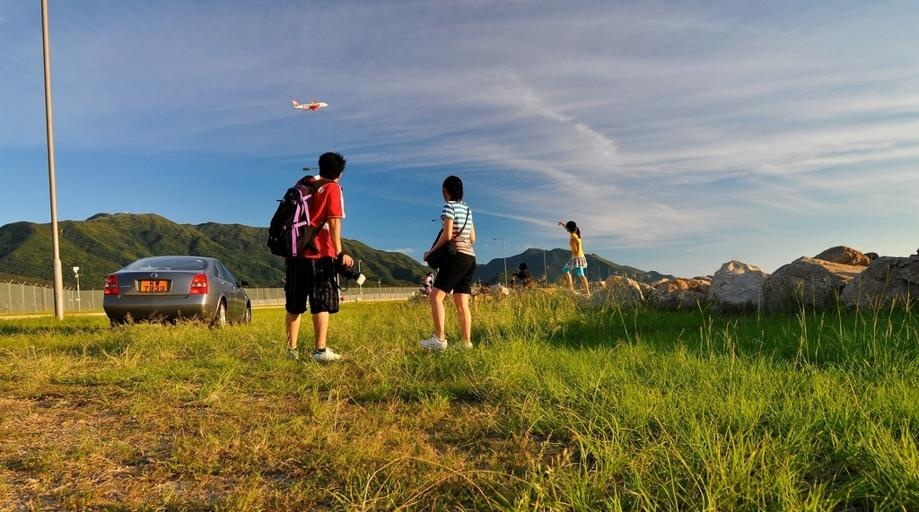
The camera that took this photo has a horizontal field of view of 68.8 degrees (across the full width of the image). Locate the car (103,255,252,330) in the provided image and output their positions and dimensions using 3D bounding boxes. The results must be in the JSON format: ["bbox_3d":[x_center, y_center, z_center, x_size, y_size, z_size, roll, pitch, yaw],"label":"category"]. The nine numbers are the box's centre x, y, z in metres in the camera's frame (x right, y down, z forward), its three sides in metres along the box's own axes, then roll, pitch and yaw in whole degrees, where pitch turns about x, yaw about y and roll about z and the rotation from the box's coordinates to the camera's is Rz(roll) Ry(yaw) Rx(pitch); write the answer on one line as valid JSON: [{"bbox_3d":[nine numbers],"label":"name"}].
[{"bbox_3d":[-6.170,0.763,15.067,1.807,1.628,2.799,-2,-3,15],"label":"car"}]

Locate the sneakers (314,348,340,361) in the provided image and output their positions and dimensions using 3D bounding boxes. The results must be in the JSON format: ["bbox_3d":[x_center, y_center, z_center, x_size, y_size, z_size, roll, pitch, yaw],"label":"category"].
[{"bbox_3d":[-2.181,1.622,11.109,0.421,0.161,0.183,0,0,-8],"label":"sneakers"}]

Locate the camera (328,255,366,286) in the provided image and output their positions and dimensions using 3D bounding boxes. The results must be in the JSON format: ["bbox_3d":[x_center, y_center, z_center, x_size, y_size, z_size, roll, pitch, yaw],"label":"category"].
[{"bbox_3d":[-1.821,0.236,11.233,0.588,0.345,0.268,24,26,26],"label":"camera"}]

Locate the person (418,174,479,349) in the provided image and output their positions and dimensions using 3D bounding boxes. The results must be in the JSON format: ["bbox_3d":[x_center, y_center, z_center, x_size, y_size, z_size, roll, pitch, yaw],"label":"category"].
[{"bbox_3d":[-0.168,0.091,11.673,0.865,3.064,1.270,-1,-3,-1],"label":"person"}]
